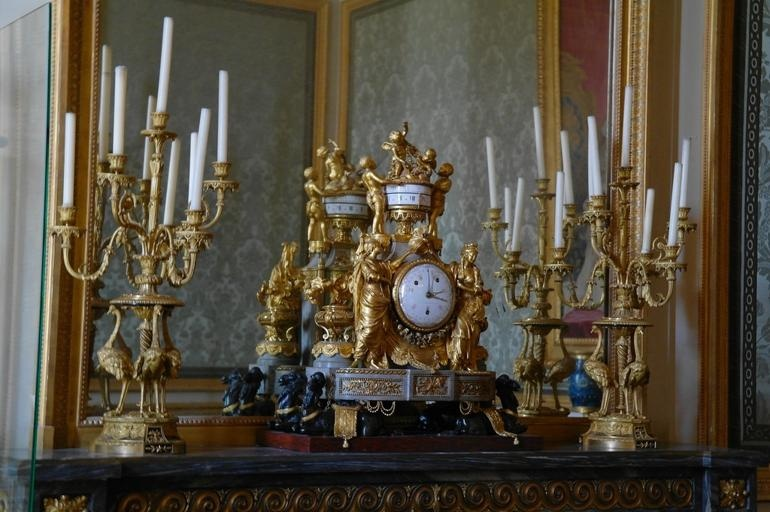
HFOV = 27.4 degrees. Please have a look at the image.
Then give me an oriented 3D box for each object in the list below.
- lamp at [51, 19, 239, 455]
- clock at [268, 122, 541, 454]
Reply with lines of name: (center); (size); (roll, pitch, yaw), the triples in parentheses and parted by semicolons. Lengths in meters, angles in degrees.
lamp: (-0.667, -0.068, 4.425); (0.471, 1.149, 0.407); (2, -4, 4)
clock: (0.028, 0.121, 4.763); (0.776, 0.876, 0.632); (1, -1, -8)
